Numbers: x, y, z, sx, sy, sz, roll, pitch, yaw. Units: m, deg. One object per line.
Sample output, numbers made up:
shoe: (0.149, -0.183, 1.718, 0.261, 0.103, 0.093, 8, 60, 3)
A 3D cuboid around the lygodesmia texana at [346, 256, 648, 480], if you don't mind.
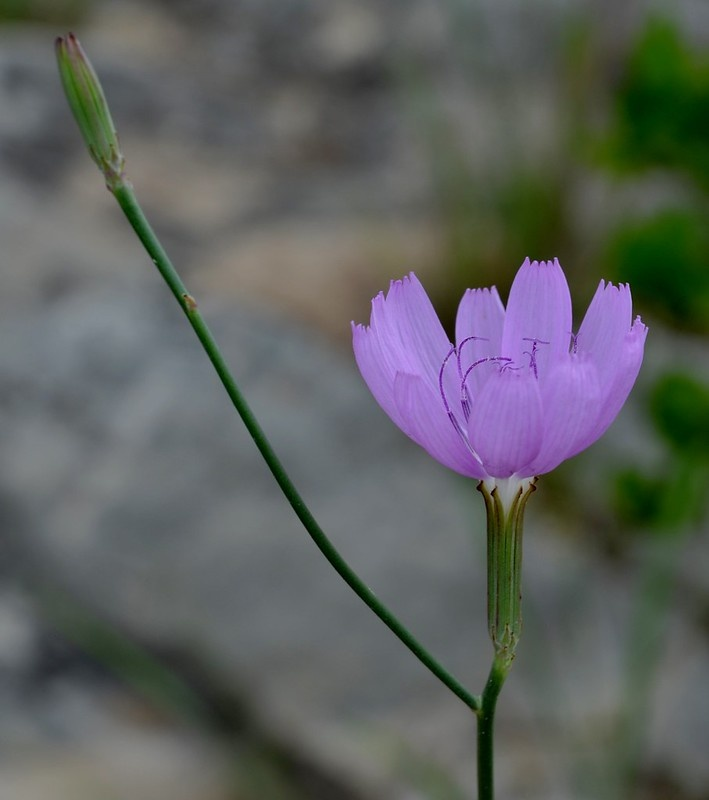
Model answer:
lygodesmia texana: (0.063, -0.047, 0.424, 0.099, 0.077, 0.106, -13, 19, -24)
